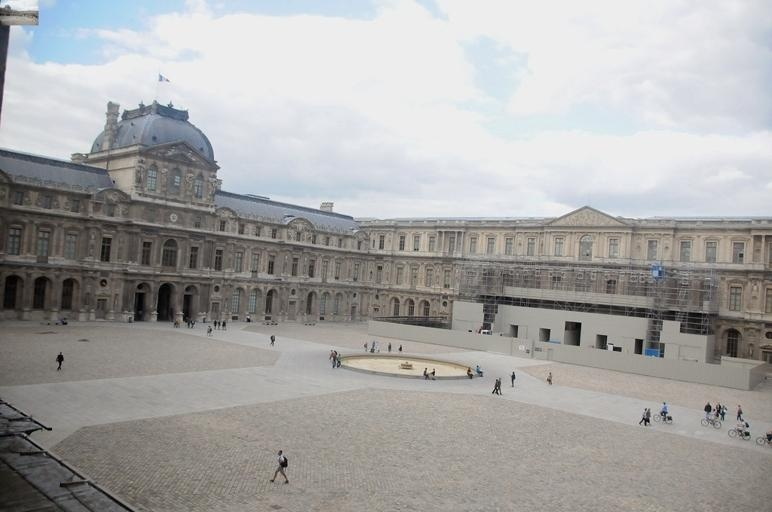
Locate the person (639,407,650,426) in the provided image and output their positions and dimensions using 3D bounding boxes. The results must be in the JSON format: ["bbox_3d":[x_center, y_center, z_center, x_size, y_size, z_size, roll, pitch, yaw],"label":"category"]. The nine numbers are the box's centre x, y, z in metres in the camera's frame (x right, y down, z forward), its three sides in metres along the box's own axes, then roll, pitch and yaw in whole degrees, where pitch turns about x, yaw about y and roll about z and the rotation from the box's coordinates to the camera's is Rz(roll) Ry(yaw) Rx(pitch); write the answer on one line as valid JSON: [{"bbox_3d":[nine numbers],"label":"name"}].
[{"bbox_3d":[19.683,12.180,41.780,0.775,1.121,1.784,6,3,25],"label":"person"}]

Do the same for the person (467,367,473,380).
[{"bbox_3d":[8.088,11.411,53.187,0.548,1.160,0.314,7,-39,-11],"label":"person"}]

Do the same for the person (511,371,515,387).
[{"bbox_3d":[11.746,11.437,50.790,0.390,1.027,1.862,5,2,13],"label":"person"}]

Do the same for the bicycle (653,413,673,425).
[{"bbox_3d":[21.377,12.741,42.727,1.671,0.837,0.726,-2,-3,22],"label":"bicycle"}]

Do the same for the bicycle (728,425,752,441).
[{"bbox_3d":[25.618,12.829,40.055,0.987,1.068,1.972,-2,-1,36],"label":"bicycle"}]

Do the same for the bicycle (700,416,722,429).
[{"bbox_3d":[25.185,12.864,42.401,1.655,0.885,0.786,3,-1,23],"label":"bicycle"}]
